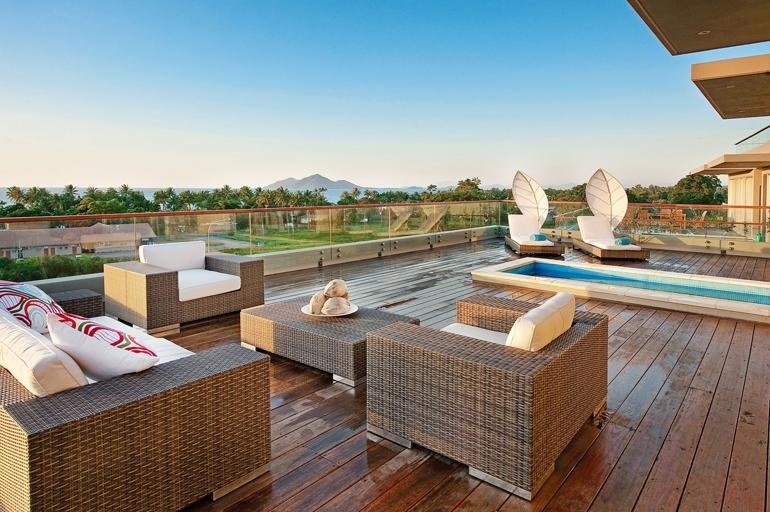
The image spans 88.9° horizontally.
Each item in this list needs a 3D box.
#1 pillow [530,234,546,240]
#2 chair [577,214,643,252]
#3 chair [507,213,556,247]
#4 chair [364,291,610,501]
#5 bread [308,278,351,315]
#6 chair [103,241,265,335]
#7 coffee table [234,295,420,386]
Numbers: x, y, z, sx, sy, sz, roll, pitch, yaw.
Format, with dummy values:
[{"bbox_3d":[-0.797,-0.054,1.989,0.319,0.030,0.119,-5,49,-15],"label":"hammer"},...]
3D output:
[{"bbox_3d":[3.669,-0.452,9.406,0.322,0.126,0.426,3,13,13],"label":"pillow"},{"bbox_3d":[5.210,-0.543,9.186,0.880,0.556,1.392,-4,10,-13],"label":"chair"},{"bbox_3d":[3.560,-0.659,9.688,0.762,0.429,1.139,-2,8,-4],"label":"chair"},{"bbox_3d":[0.725,0.777,2.799,1.285,0.977,1.152,10,17,35],"label":"chair"},{"bbox_3d":[-0.510,0.403,3.938,0.445,0.166,0.333,-17,14,-42],"label":"bread"},{"bbox_3d":[-2.583,0.384,4.978,1.409,0.897,1.847,3,5,35],"label":"chair"},{"bbox_3d":[-0.631,0.724,3.627,1.318,0.246,0.823,4,7,37],"label":"coffee table"}]
